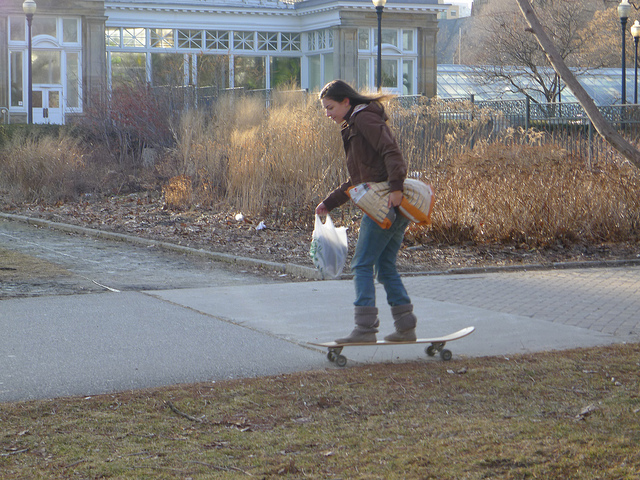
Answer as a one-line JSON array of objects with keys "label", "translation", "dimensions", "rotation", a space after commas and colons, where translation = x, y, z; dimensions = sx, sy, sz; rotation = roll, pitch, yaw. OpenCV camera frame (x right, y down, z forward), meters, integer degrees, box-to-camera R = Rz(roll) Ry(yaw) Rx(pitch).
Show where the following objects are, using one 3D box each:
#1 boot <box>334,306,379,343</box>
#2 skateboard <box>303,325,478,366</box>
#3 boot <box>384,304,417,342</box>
[{"label": "boot", "translation": [0.418, 0.916, 12.789], "dimensions": [0.513, 0.492, 0.222], "rotation": [-6, 24, -9]}, {"label": "skateboard", "translation": [0.811, 1.207, 12.941], "dimensions": [1.234, 0.272, 0.336], "rotation": [-2, 4, -5]}, {"label": "boot", "translation": [0.904, 0.966, 12.914], "dimensions": [0.358, 0.469, 0.245], "rotation": [-11, -26, 14]}]
